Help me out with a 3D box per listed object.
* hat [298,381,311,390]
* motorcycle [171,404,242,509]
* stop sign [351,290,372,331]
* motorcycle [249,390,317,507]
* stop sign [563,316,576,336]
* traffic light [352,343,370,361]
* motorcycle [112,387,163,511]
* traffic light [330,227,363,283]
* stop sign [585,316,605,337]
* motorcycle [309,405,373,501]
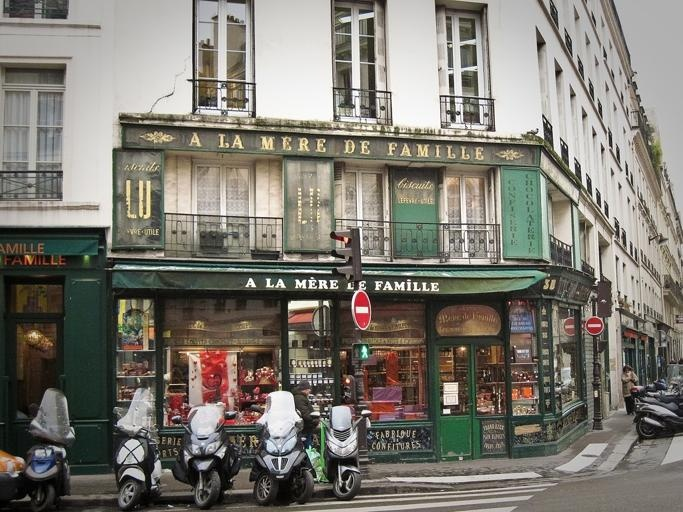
[{"bbox_3d":[-0.870,2.982,25.772,0.234,0.190,0.168,-6,7,-27],"label":"hat"},{"bbox_3d":[-2.838,4.203,23.572,1.312,2.138,0.665,-1,-8,-8],"label":"motorcycle"},{"bbox_3d":[0.426,1.244,25.868,0.157,1.215,1.036,-5,-3,32],"label":"stop sign"},{"bbox_3d":[-1.312,4.084,23.915,1.304,2.385,1.022,-2,-8,-6],"label":"motorcycle"},{"bbox_3d":[6.352,1.990,31.658,0.583,0.723,0.046,0,-5,-34],"label":"stop sign"},{"bbox_3d":[0.417,2.211,25.757,0.517,0.503,0.237,0,-3,-7],"label":"traffic light"},{"bbox_3d":[-4.305,4.078,23.748,0.944,2.522,0.768,0,-8,-17],"label":"motorcycle"},{"bbox_3d":[0.105,0.027,25.956,0.656,1.383,1.952,-2,-8,0],"label":"traffic light"},{"bbox_3d":[7.436,2.086,33.353,0.755,0.911,0.119,0,-3,19],"label":"stop sign"},{"bbox_3d":[-0.069,4.275,24.353,0.865,2.003,0.514,-3,-8,4],"label":"motorcycle"}]
